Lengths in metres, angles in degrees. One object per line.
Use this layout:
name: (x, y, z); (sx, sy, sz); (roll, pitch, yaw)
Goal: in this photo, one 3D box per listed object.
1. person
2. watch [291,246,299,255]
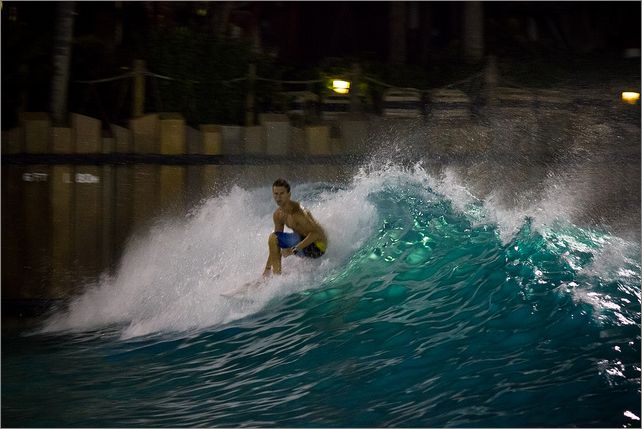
person: (-0.402, 0.201, 8.627); (0.915, 1.415, 0.501); (-1, 4, -8)
watch: (-0.370, 0.530, 8.452); (0.102, 0.074, 0.055); (18, 14, 15)
